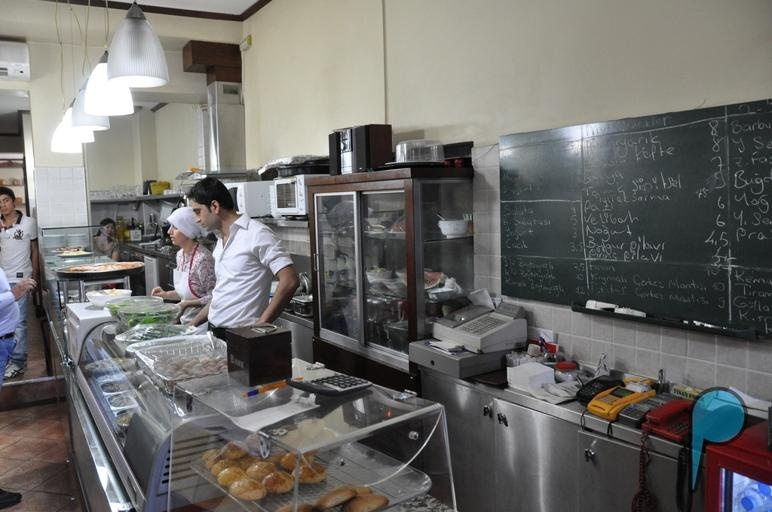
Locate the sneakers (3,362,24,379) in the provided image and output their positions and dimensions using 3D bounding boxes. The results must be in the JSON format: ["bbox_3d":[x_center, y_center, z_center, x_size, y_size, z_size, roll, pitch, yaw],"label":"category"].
[{"bbox_3d":[-4.169,1.285,5.723,0.084,0.104,0.243,9,1,24],"label":"sneakers"}]

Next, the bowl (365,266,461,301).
[{"bbox_3d":[0.178,0.191,3.654,0.396,0.108,0.300,5,7,37],"label":"bowl"}]

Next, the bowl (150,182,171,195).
[{"bbox_3d":[-3.713,-1.125,8.451,0.312,0.198,0.290,-2,2,0],"label":"bowl"}]

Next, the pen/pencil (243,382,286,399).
[{"bbox_3d":[-0.480,0.529,2.012,0.146,0.021,0.029,-8,29,-41],"label":"pen/pencil"}]

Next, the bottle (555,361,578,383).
[{"bbox_3d":[1.086,0.688,3.081,0.118,0.070,0.116,0,4,0],"label":"bottle"}]

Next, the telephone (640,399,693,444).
[{"bbox_3d":[1.395,0.795,2.502,0.257,0.062,0.188,-20,18,-41],"label":"telephone"}]

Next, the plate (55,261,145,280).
[{"bbox_3d":[-2.442,0.131,4.369,0.516,0.113,0.675,3,8,0],"label":"plate"}]

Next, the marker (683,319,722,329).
[{"bbox_3d":[1.658,0.365,2.673,0.040,0.046,0.183,-4,11,-42],"label":"marker"}]

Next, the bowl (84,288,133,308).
[{"bbox_3d":[-1.824,0.292,3.328,0.200,0.058,0.191,1,3,0],"label":"bowl"}]

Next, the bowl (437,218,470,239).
[{"bbox_3d":[0.483,-0.197,3.609,0.169,0.098,0.156,-4,4,0],"label":"bowl"}]

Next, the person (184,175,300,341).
[{"bbox_3d":[-0.970,0.001,3.483,0.701,1.007,0.380,10,10,37],"label":"person"}]

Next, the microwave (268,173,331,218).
[{"bbox_3d":[-0.829,-0.568,4.998,0.434,0.362,0.600,-2,5,-32],"label":"microwave"}]

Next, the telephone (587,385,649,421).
[{"bbox_3d":[1.263,0.771,2.739,0.382,0.094,0.212,-8,4,-34],"label":"telephone"}]

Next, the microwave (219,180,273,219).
[{"bbox_3d":[-1.549,-0.648,5.760,0.504,0.416,0.697,-5,10,-32],"label":"microwave"}]
